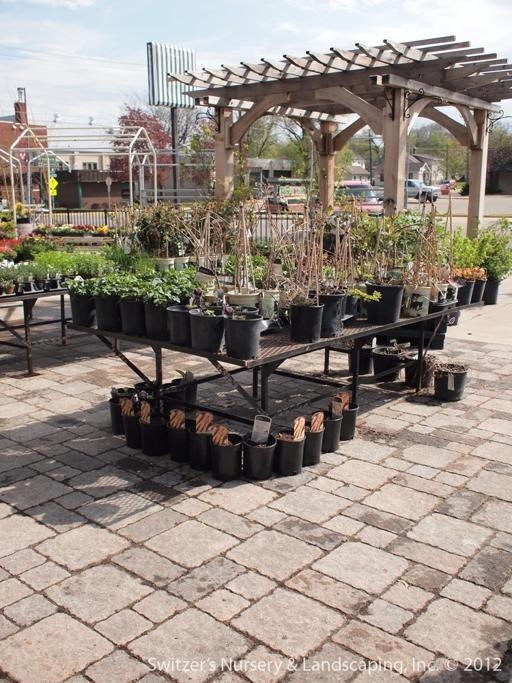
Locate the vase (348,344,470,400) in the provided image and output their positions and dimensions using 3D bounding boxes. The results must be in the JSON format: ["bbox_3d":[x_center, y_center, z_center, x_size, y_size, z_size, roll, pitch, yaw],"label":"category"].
[{"bbox_3d":[1.354,0.230,4.981,0.743,0.351,0.860,2,12,7],"label":"vase"}]
